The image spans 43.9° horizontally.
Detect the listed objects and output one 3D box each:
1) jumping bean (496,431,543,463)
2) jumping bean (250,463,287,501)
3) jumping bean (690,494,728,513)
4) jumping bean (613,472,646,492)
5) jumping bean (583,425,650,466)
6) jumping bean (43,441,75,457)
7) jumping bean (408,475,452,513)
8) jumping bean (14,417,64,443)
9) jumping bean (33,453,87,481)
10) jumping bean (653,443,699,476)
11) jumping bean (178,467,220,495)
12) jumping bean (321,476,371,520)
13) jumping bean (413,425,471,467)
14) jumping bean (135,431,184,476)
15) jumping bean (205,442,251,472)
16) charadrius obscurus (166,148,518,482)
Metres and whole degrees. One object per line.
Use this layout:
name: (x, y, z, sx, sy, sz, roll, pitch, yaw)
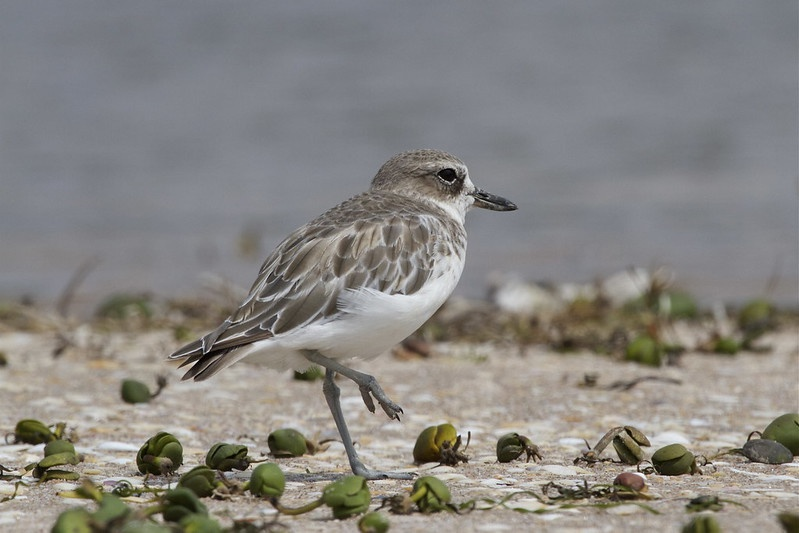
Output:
jumping bean: (0.828, 1.271, 6.952, 0.356, 0.160, 0.178, 8, 3, 11)
jumping bean: (-0.792, 1.312, 6.040, 0.194, 0.173, 0.224, -2, -39, 7)
jumping bean: (1.792, 1.370, 5.809, 0.200, 0.067, 0.255, 2, 7, 17)
jumping bean: (1.414, 1.316, 6.052, 0.131, 0.071, 0.146, 1, 1, 2)
jumping bean: (1.454, 1.210, 6.691, 0.432, 0.281, 0.199, 1, 8, 10)
jumping bean: (-2.319, 1.238, 6.794, 0.136, 0.075, 0.155, 0, 1, 30)
jumping bean: (0.185, 1.344, 5.830, 0.238, 0.195, 0.105, 0, 8, 1)
jumping bean: (-2.686, 1.199, 7.327, 0.301, 0.088, 0.218, 0, -5, 33)
jumping bean: (-2.230, 1.327, 6.541, 0.200, 0.073, 0.241, 7, 4, 43)
jumping bean: (1.804, 1.256, 6.515, 0.275, 0.163, 0.175, 1, -47, 3)
jumping bean: (-1.234, 1.329, 6.106, 0.231, 0.076, 0.160, -3, -2, 15)
jumping bean: (-0.290, 1.360, 5.855, 0.326, 0.203, 0.246, -8, -8, 3)
jumping bean: (0.272, 1.262, 6.999, 0.310, 0.162, 0.370, -1, -3, -17)
jumping bean: (-1.584, 1.243, 6.637, 0.393, 0.249, 0.352, 3, 7, 33)
jumping bean: (-1.142, 1.282, 6.665, 0.275, 0.114, 0.187, 2, -4, 14)
charadrius obscurus: (-0.466, 0.347, 7.014, 3.085, 2.161, 1.371, -2, -3, -36)
